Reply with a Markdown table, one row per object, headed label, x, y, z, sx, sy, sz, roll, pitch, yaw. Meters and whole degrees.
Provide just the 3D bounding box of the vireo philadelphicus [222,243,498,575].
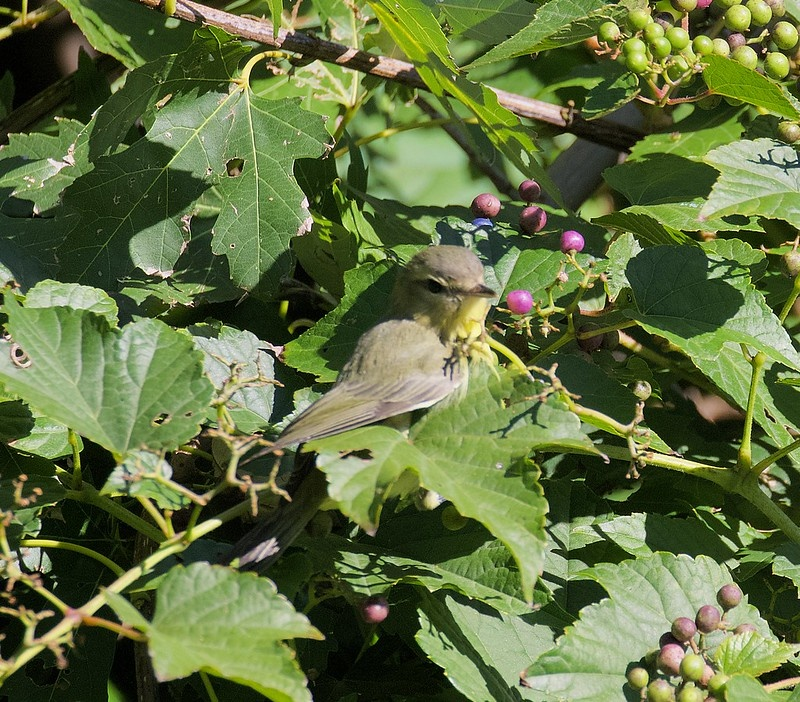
| label | x | y | z | sx | sy | sz | roll | pitch | yaw |
| --- | --- | --- | --- | --- | --- | --- | --- | --- | --- |
| vireo philadelphicus | -0.059 | 0.122 | 2.442 | 0.375 | 0.712 | 0.706 | 18 | 25 | 6 |
